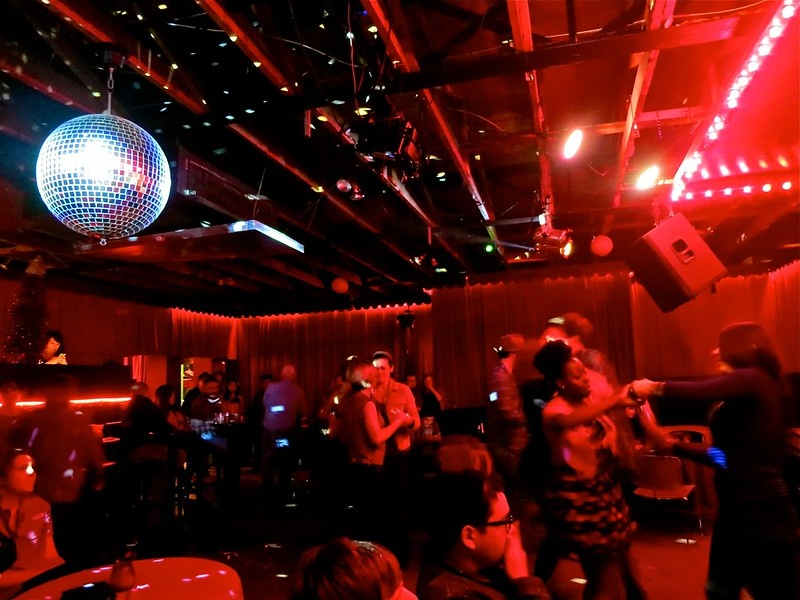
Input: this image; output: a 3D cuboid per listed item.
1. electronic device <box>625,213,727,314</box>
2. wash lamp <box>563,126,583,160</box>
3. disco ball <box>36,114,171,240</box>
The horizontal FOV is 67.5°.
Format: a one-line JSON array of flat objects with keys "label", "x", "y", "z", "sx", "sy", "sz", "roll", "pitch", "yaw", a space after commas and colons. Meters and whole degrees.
[{"label": "electronic device", "x": 2.252, "y": -0.316, "z": 4.931, "sx": 0.652, "sy": 0.753, "sz": 0.388, "roll": -4, "pitch": -14, "yaw": 6}, {"label": "wash lamp", "x": 1.495, "y": -1.394, "z": 5.152, "sx": 0.177, "sy": 0.196, "sz": 0.443, "roll": -7, "pitch": -14, "yaw": 18}, {"label": "disco ball", "x": -1.742, "y": -0.724, "z": 3.509, "sx": 0.710, "sy": 0.680, "sz": 0.672, "roll": -7, "pitch": -4, "yaw": 0}]
